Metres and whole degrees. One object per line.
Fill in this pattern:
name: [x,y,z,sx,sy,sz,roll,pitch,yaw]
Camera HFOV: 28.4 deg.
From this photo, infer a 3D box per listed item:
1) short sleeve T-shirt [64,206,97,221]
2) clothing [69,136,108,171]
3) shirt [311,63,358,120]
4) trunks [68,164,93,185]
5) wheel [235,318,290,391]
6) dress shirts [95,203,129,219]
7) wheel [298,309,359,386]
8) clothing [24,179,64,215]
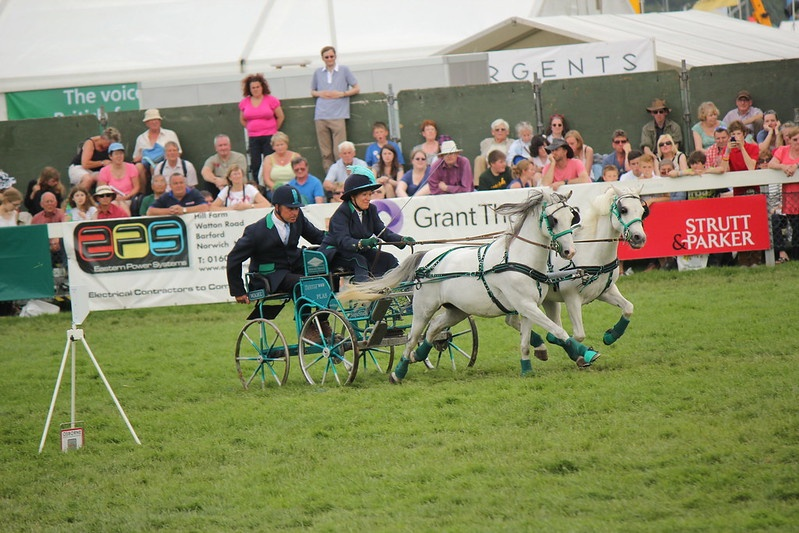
short sleeve T-shirt: [-6.976,-1.147,34.381,0.449,0.172,0.415,4,-7,3]
clothing: [-6.905,-2.476,35.015,0.826,0.443,0.631,-18,-16,4]
shirt: [-1.448,-3.813,34.976,1.326,1.354,0.763,0,-1,6]
trunks: [-7.132,-2.047,34.947,0.609,0.441,0.267,-3,4,23]
wheel: [-2.620,1.683,30.094,0.356,0.937,0.937,-13,-23,-50]
dress shirts: [-6.284,-1.144,34.198,0.617,0.450,0.328,-1,-9,-12]
wheel: [-1.311,1.441,29.218,0.207,1.179,1.184,2,13,-39]
clothing: [-7.862,-1.518,34.880,0.881,1.075,0.700,1,-7,-10]
